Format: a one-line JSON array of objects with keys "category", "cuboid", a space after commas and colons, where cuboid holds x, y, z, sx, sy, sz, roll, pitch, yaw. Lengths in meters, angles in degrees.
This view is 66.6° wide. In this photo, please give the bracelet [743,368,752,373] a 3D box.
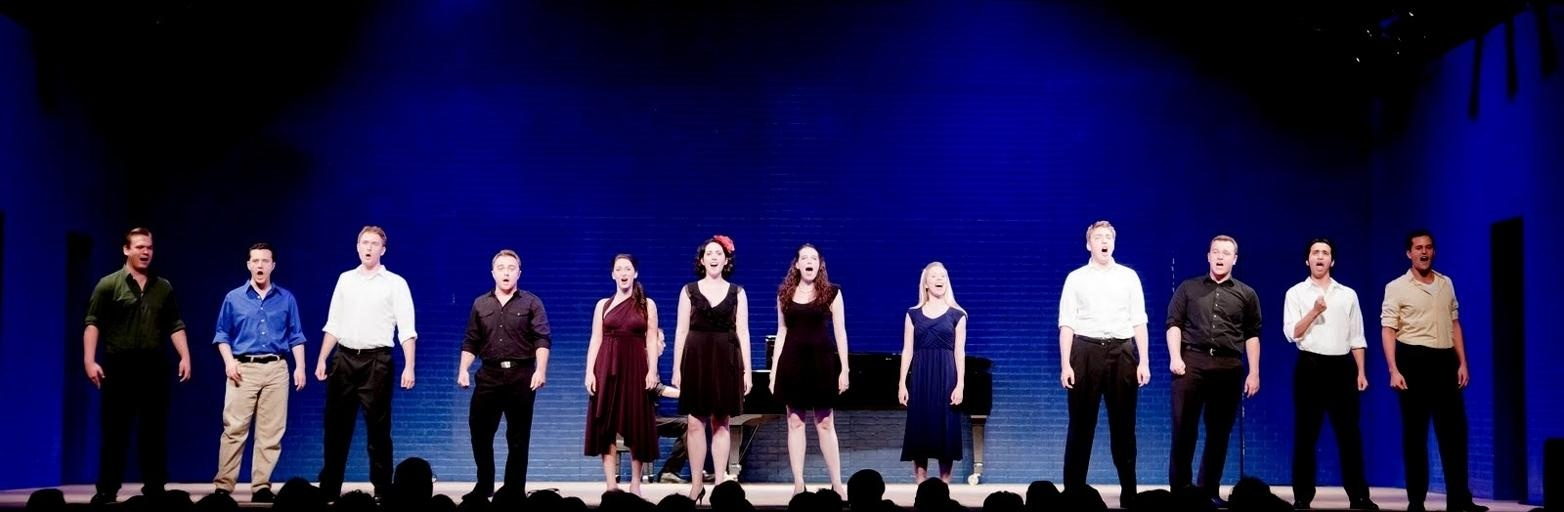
[{"category": "bracelet", "cuboid": [-0.613, 2.109, 21.970, 0.130, 0.093, 0.125, 5, -7, -35]}]

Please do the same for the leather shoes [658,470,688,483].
[{"category": "leather shoes", "cuboid": [-2.117, 4.332, 23.333, 0.529, 0.134, 0.224, 0, -7, 2]}]
